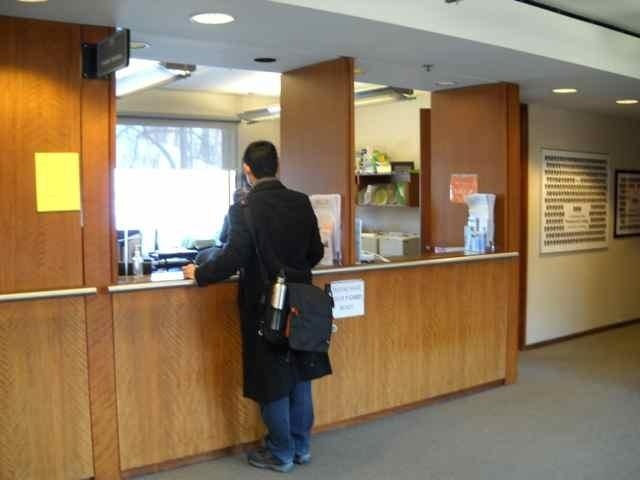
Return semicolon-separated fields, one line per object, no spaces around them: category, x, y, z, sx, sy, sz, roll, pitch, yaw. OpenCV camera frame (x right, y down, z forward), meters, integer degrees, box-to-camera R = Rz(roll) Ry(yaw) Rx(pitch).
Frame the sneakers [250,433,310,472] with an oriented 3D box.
sneakers;-0.237;1.473;3.731;0.467;0.226;0.188;8;7;22

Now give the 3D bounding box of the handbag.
handbag;-0.098;0.537;3.606;0.409;0.561;0.551;4;-23;8

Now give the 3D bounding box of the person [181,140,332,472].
person;-0.314;0.463;3.524;0.797;2.217;0.460;-3;6;0

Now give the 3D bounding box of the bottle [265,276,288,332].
bottle;-0.260;0.403;3.319;0.142;0.359;0.060;-4;6;-6
